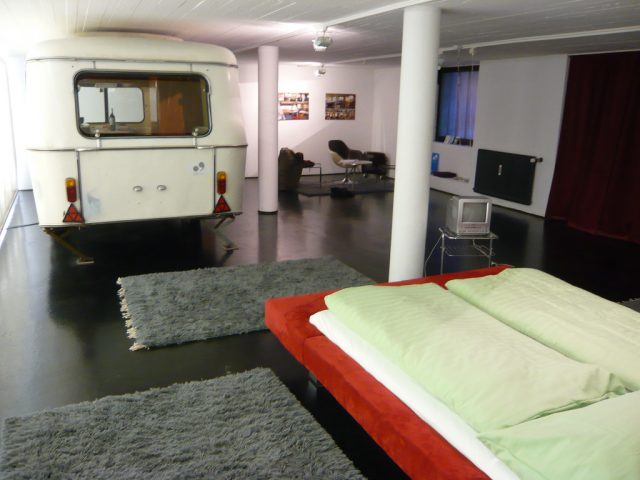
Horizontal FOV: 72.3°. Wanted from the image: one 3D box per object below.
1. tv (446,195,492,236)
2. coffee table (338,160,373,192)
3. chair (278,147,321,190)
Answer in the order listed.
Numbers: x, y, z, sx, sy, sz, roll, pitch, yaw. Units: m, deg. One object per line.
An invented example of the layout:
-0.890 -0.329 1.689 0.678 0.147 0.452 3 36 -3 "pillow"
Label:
1.637 -0.290 4.986 0.403 0.421 0.450 -2 10 -12 "tv"
0.839 -1.736 11.069 0.923 0.605 0.932 5 22 9 "coffee table"
-0.560 -1.681 10.234 0.849 0.847 0.924 -5 26 -14 "chair"
